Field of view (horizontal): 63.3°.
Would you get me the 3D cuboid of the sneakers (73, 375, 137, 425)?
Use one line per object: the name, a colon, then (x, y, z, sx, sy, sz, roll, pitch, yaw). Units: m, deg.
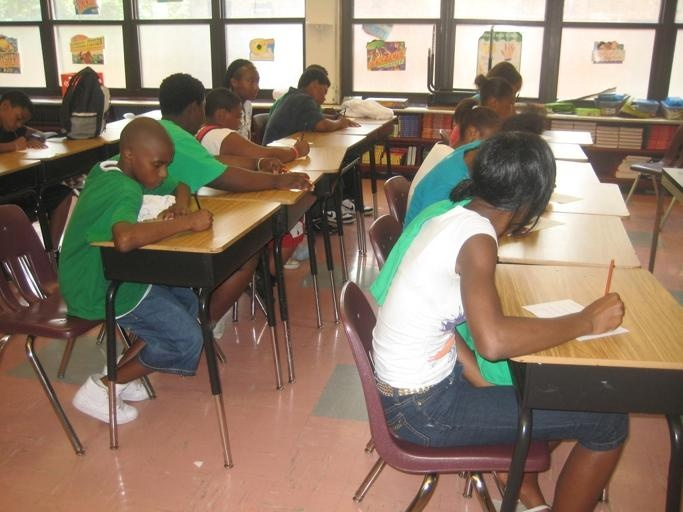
sneakers: (-1.079, 0.662, 2.512, 0.284, 0.179, 0.102, 20, 26, -15)

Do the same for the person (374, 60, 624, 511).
person: (0.405, -0.056, 2.367, 1.091, 1.961, 0.987, -9, 23, -2)

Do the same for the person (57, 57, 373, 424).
person: (-0.779, -0.026, 2.510, 0.736, 1.544, 0.893, 9, 18, 24)

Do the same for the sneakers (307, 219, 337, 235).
sneakers: (-0.129, -0.236, 4.347, 0.201, 0.064, 0.144, 7, 8, 33)

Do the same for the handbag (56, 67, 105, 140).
handbag: (-2.146, -1.272, 4.584, 0.335, 0.615, 0.428, -7, 26, -35)

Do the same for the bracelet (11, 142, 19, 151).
bracelet: (-2.318, -0.766, 3.887, 0.047, 0.052, 0.050, 0, -6, 6)
